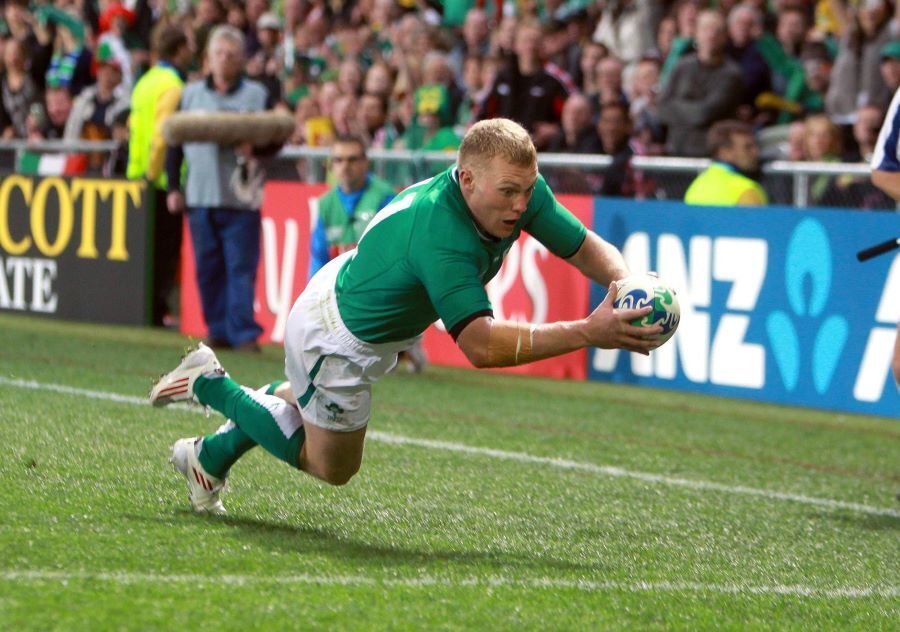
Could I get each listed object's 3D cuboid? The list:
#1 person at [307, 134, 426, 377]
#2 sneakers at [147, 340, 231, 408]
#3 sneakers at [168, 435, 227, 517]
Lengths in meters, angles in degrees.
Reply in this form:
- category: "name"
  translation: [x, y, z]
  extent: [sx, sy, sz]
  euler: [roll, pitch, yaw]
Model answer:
- category: "person"
  translation: [-0.631, -0.509, 10.488]
  extent: [1.006, 1.616, 0.436]
  euler: [7, 3, 27]
- category: "sneakers"
  translation: [-1.375, 0.327, 6.975]
  extent: [0.387, 0.216, 0.144]
  euler: [-23, -34, 30]
- category: "sneakers"
  translation: [-1.281, 0.826, 6.765]
  extent: [0.209, 0.507, 0.170]
  euler: [-6, 6, 37]
